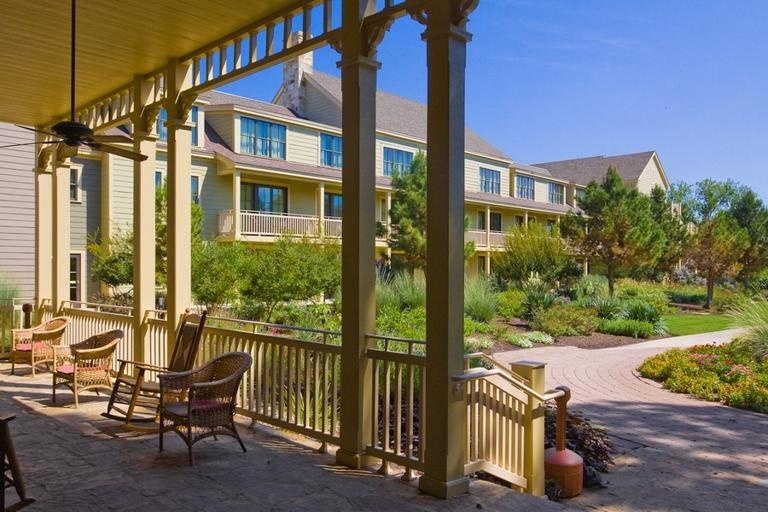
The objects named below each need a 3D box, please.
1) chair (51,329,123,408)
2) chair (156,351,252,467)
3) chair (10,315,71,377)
[{"bbox_3d":[-5.270,1.910,11.836,1.016,1.268,0.929,-1,-5,36],"label":"chair"},{"bbox_3d":[-2.754,2.182,10.035,1.321,1.492,1.385,2,-4,6],"label":"chair"},{"bbox_3d":[-6.885,1.767,13.375,0.907,1.137,0.832,-1,-6,32],"label":"chair"}]
